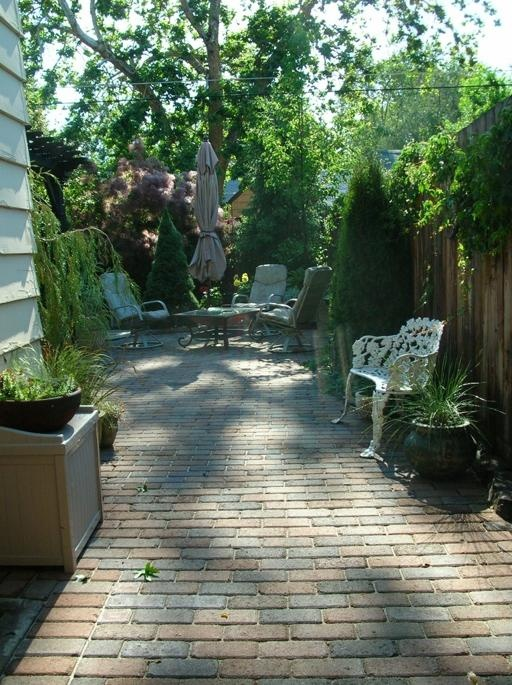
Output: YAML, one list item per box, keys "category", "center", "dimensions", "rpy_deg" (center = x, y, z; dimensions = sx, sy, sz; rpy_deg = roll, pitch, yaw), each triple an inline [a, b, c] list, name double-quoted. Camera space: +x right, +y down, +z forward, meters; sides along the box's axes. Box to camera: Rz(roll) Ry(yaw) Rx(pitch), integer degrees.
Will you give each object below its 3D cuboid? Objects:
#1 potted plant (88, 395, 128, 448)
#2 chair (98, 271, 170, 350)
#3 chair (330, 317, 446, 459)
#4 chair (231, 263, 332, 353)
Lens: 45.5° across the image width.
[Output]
- category: "potted plant"
  center: [-0.987, 0.566, 4.050]
  dimensions: [0.260, 0.253, 0.233]
  rpy_deg: [-13, -12, 37]
- category: "chair"
  center: [-1.757, -0.490, 8.883]
  dimensions: [0.892, 1.034, 0.907]
  rpy_deg: [4, 9, 29]
- category: "chair"
  center: [0.914, 0.259, 4.276]
  dimensions: [0.590, 0.813, 0.671]
  rpy_deg: [-4, 14, -17]
- category: "chair"
  center: [0.427, -0.496, 8.792]
  dimensions: [1.058, 1.118, 2.345]
  rpy_deg: [-1, 7, -1]
